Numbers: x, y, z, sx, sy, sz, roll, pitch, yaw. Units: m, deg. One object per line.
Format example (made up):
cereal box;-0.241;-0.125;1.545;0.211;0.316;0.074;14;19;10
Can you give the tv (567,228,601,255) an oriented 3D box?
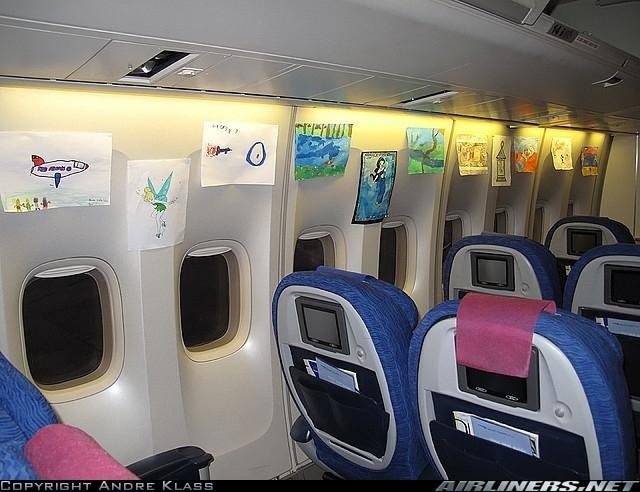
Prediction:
tv;2.795;-0.054;4.490;0.137;0.224;0.269;-5;7;-32

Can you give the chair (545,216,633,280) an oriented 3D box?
chair;2.449;0.018;3.903;0.376;0.674;0.682;3;1;-34

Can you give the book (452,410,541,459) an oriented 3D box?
book;0.700;0.727;1.658;0.302;0.175;0.032;13;38;33

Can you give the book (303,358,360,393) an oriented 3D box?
book;0.071;0.655;2.167;0.252;0.172;0.041;19;39;34

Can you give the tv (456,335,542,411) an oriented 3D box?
tv;0.655;0.449;1.535;0.159;0.258;0.300;-12;13;-42

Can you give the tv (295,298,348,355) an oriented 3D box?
tv;0.019;0.386;2.080;0.034;0.255;0.309;-23;24;-39
